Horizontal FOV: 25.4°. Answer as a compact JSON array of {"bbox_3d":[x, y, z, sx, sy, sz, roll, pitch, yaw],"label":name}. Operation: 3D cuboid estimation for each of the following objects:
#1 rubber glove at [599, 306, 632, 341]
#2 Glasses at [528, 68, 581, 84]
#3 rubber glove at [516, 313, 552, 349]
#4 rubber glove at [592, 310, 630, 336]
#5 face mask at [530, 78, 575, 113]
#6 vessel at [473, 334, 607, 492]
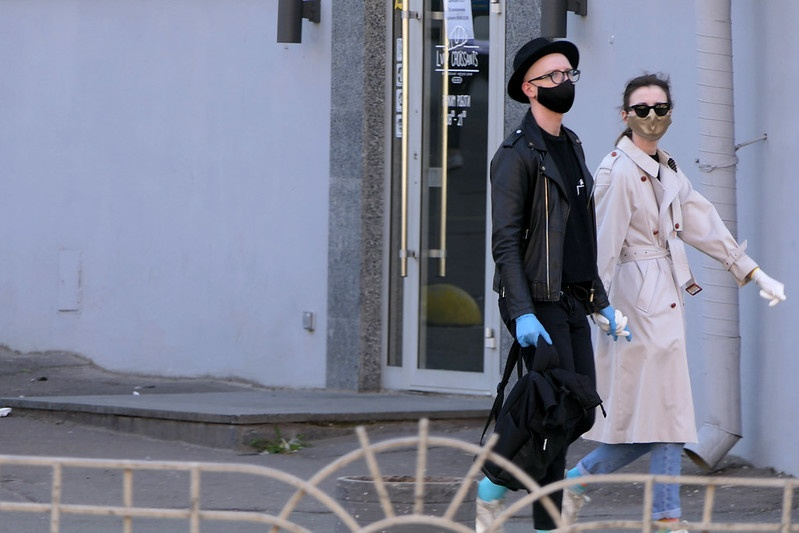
[{"bbox_3d":[1.632,0.448,13.436,0.134,0.194,0.296,-35,-35,19],"label":"rubber glove"},{"bbox_3d":[1.156,-1.414,13.327,0.212,0.059,0.211,-4,1,44],"label":"Glasses"},{"bbox_3d":[0.966,0.488,13.017,0.205,0.264,0.132,-3,11,6],"label":"rubber glove"},{"bbox_3d":[1.612,0.436,13.483,0.258,0.126,0.186,38,-15,-8],"label":"rubber glove"},{"bbox_3d":[1.152,-1.265,13.273,0.256,0.197,0.248,-2,3,-35],"label":"face mask"},{"bbox_3d":[1.109,1.100,13.234,0.834,1.128,0.801,11,16,-24],"label":"vessel"}]
